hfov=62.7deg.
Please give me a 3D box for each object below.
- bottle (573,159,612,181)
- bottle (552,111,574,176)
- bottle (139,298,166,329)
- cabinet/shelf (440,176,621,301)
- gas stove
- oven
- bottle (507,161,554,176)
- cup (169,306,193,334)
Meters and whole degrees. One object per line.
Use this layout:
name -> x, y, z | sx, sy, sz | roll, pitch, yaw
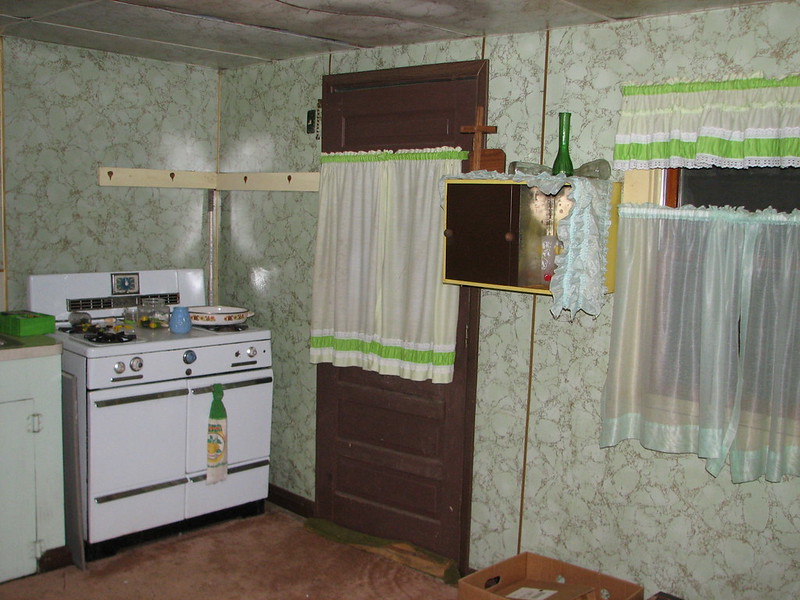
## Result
bottle -> 0.896, -0.604, 3.034 | 0.172, 0.095, 0.234 | 5, 10, 14
bottle -> 0.763, -0.721, 3.027 | 0.098, 0.295, 0.283 | 5, 10, 13
bottle -> -1.607, 0.083, 4.289 | 0.180, 0.180, 0.186 | 5, 5, 7
cabinet/shelf -> 0.601, -0.305, 3.130 | 0.828, 0.525, 0.293 | 8, 11, 38
gas stove -> -1.487, 0.182, 4.115 | 1.163, 0.136, 0.703 | -6, 13, -39
oven -> -1.434, 0.928, 4.086 | 0.540, 0.972, 1.148 | 4, 2, 45
bottle -> 0.642, -0.640, 3.189 | 0.228, 0.062, 0.133 | 7, 11, 23
cup -> -1.351, 0.125, 4.057 | 0.145, 0.163, 0.149 | 3, 1, 0
